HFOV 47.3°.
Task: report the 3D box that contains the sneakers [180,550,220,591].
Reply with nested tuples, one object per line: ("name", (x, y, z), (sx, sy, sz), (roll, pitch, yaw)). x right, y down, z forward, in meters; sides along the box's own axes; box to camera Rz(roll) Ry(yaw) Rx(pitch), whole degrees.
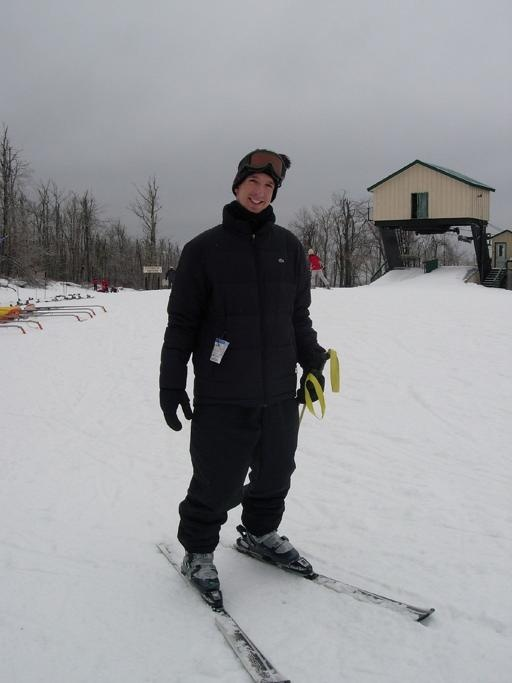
("sneakers", (-0.323, 1.257, 3.206), (0.093, 0.206, 0.285), (3, -8, -19))

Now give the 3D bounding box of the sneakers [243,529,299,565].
("sneakers", (0.090, 1.234, 3.606), (0.386, 0.179, 0.135), (2, 15, 35))

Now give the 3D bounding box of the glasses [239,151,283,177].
("glasses", (0.044, -0.975, 3.187), (0.269, 0.124, 0.175), (-1, 14, -12))
